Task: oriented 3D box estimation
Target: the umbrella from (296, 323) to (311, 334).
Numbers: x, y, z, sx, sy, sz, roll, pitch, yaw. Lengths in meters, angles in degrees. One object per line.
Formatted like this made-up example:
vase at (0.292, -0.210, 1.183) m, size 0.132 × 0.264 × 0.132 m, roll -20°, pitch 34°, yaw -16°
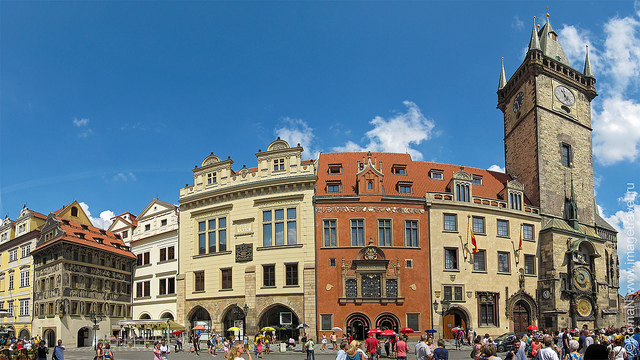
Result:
umbrella at (-2.388, 21.515, 112.452) m, size 1.679 × 0.975 × 1.432 m, roll -1°, pitch -9°, yaw 11°

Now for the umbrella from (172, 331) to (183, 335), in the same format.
umbrella at (-20.938, 22.159, 112.613) m, size 1.074 × 0.559 × 1.573 m, roll 1°, pitch -22°, yaw -10°

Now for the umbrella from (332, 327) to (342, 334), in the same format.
umbrella at (2.358, 21.166, 110.567) m, size 1.159 × 0.780 × 3.297 m, roll -4°, pitch -22°, yaw 2°

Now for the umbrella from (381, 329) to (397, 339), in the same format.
umbrella at (9.076, 20.146, 102.739) m, size 1.615 × 1.131 × 4.322 m, roll -5°, pitch -22°, yaw 4°

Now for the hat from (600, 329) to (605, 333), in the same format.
hat at (31.290, 16.673, 85.554) m, size 0.658 × 0.332 × 0.791 m, roll 2°, pitch -5°, yaw 9°
